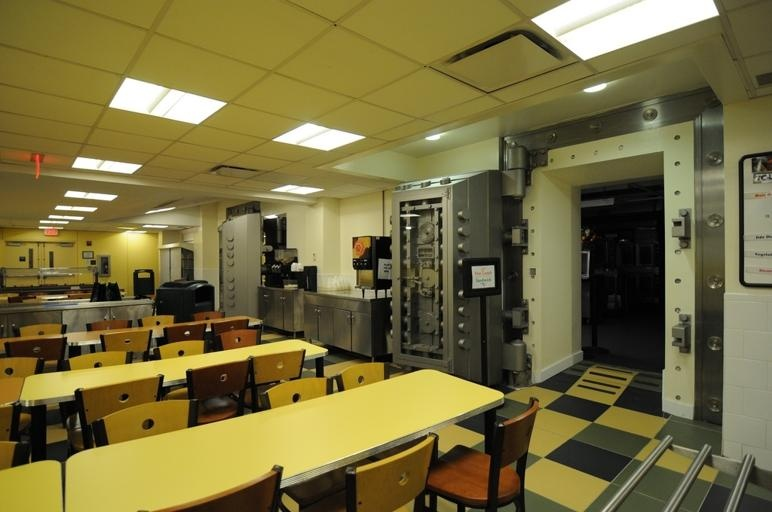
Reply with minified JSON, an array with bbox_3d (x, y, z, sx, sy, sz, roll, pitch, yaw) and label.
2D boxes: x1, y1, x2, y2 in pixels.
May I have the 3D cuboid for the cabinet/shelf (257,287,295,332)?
[{"bbox_3d":[-2.071,1.014,9.889,1.166,0.784,0.411,4,5,41],"label":"cabinet/shelf"}]

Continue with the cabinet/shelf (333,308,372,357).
[{"bbox_3d":[-0.502,1.180,7.735,0.325,0.714,0.825,1,-1,-39],"label":"cabinet/shelf"}]

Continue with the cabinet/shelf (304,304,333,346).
[{"bbox_3d":[-1.080,1.172,8.567,0.732,0.625,0.284,7,13,33],"label":"cabinet/shelf"}]
